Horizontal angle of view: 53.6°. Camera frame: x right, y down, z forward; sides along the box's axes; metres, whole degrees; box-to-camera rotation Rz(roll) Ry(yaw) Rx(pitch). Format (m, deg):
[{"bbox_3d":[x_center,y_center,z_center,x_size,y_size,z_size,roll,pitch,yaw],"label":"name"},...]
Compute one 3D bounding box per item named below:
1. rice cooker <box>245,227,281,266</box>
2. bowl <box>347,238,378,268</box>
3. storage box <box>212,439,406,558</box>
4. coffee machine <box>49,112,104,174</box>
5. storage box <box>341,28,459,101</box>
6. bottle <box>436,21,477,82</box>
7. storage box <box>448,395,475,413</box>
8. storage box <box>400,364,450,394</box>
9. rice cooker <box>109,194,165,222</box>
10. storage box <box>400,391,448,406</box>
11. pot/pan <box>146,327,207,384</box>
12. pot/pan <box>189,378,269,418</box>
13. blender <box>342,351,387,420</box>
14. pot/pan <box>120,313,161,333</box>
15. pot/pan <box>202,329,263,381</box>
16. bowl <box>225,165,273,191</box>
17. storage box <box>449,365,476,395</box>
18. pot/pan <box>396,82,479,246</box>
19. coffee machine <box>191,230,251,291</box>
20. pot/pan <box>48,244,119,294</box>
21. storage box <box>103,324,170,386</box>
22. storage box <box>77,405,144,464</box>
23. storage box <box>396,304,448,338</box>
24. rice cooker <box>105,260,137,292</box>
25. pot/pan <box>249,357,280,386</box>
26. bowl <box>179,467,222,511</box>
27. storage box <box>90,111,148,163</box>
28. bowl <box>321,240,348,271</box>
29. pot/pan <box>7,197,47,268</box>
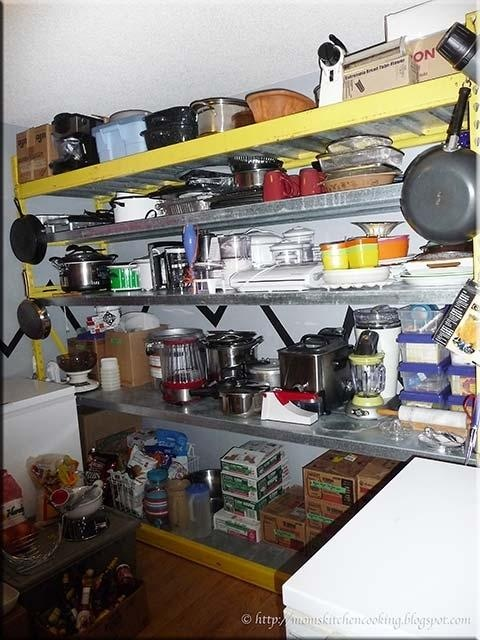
[{"bbox_3d":[0.086,-0.298,1.935,0.153,0.133,0.148,-2,6,-2],"label":"rice cooker"},{"bbox_3d":[0.397,-0.224,1.580,0.104,0.094,0.096,-3,6,0],"label":"bowl"},{"bbox_3d":[0.214,0.642,1.697,0.711,0.334,0.381,-8,-7,44],"label":"storage box"},{"bbox_3d":[-0.768,-0.853,2.369,0.259,0.302,0.226,12,19,34],"label":"coffee machine"},{"bbox_3d":[0.433,-0.731,1.359,0.293,0.136,0.206,1,22,39],"label":"storage box"},{"bbox_3d":[0.446,-0.543,0.975,0.072,0.114,0.112,-5,6,27],"label":"bottle"},{"bbox_3d":[0.671,0.252,1.454,0.069,0.061,0.099,-2,-4,36],"label":"storage box"},{"bbox_3d":[0.610,0.192,1.596,0.102,0.081,0.138,-2,-4,36],"label":"storage box"},{"bbox_3d":[-0.493,-0.536,2.254,0.167,0.116,0.208,5,16,24],"label":"rice cooker"},{"bbox_3d":[0.598,0.261,1.568,0.072,0.028,0.090,3,4,30],"label":"storage box"},{"bbox_3d":[-0.282,0.178,2.416,0.290,0.318,0.268,12,15,39],"label":"pot/pan"},{"bbox_3d":[-0.047,0.326,2.009,0.252,0.095,0.156,-3,-1,28],"label":"pot/pan"},{"bbox_3d":[0.454,0.211,1.743,0.110,0.278,0.106,0,4,25],"label":"blender"},{"bbox_3d":[-0.598,0.002,2.768,0.143,0.068,0.140,3,9,22],"label":"pot/pan"},{"bbox_3d":[-0.025,0.142,2.284,0.294,0.275,0.218,2,10,12],"label":"pot/pan"},{"bbox_3d":[0.034,-0.554,1.869,0.103,0.059,0.105,-3,13,1],"label":"bowl"},{"bbox_3d":[0.688,0.188,1.471,0.089,0.102,0.053,-3,7,41],"label":"storage box"},{"bbox_3d":[0.480,-0.366,1.148,0.166,0.342,0.138,10,20,34],"label":"pot/pan"},{"bbox_3d":[-0.076,-0.252,2.049,0.318,0.292,0.183,2,7,28],"label":"coffee machine"},{"bbox_3d":[-0.793,-0.304,2.567,0.297,0.262,0.306,7,16,24],"label":"pot/pan"},{"bbox_3d":[-0.607,0.203,2.807,0.306,0.315,0.293,2,9,35],"label":"storage box"},{"bbox_3d":[-0.733,0.605,2.663,0.283,0.268,0.251,-9,18,-44],"label":"storage box"},{"bbox_3d":[0.617,-0.010,1.597,0.154,0.100,0.106,-6,6,16],"label":"storage box"},{"bbox_3d":[-0.599,-0.225,2.419,0.158,0.126,0.145,-1,9,-16],"label":"rice cooker"},{"bbox_3d":[0.110,0.221,2.048,0.107,0.074,0.107,1,3,32],"label":"pot/pan"},{"bbox_3d":[-0.199,0.886,2.512,0.192,0.149,0.207,-2,7,0],"label":"bowl"},{"bbox_3d":[-0.530,-0.808,2.155,0.296,0.190,0.229,6,19,44],"label":"storage box"},{"bbox_3d":[0.314,-0.214,1.598,0.101,0.090,0.098,-5,5,0],"label":"bowl"},{"bbox_3d":[-1.099,-0.458,2.466,0.180,0.347,0.156,15,20,32],"label":"pot/pan"}]
